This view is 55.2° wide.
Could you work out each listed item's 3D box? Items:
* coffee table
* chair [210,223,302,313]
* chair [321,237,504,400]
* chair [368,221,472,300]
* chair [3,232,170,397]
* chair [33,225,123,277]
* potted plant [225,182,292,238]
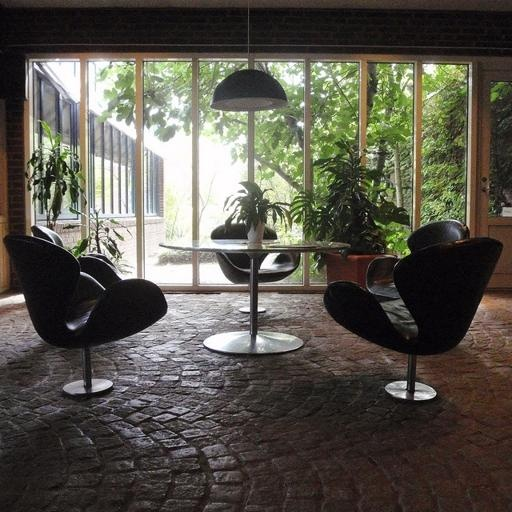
[{"bbox_3d":[-0.049,0.274,3.471,1.585,0.679,1.336,0,2,-20],"label":"coffee table"},{"bbox_3d":[-0.014,0.067,4.243,0.794,0.629,0.780,6,9,33],"label":"chair"},{"bbox_3d":[0.733,0.318,2.301,0.813,0.637,0.702,-1,-8,21],"label":"chair"},{"bbox_3d":[0.955,0.029,3.035,0.712,0.602,0.533,-1,1,-5],"label":"chair"},{"bbox_3d":[-0.816,0.239,2.674,1.002,0.839,0.810,-1,4,-32],"label":"chair"},{"bbox_3d":[-1.113,-0.047,3.031,0.535,0.361,0.338,-1,6,-10],"label":"chair"},{"bbox_3d":[0.019,-0.270,3.251,0.480,0.291,0.357,2,2,23],"label":"potted plant"}]
